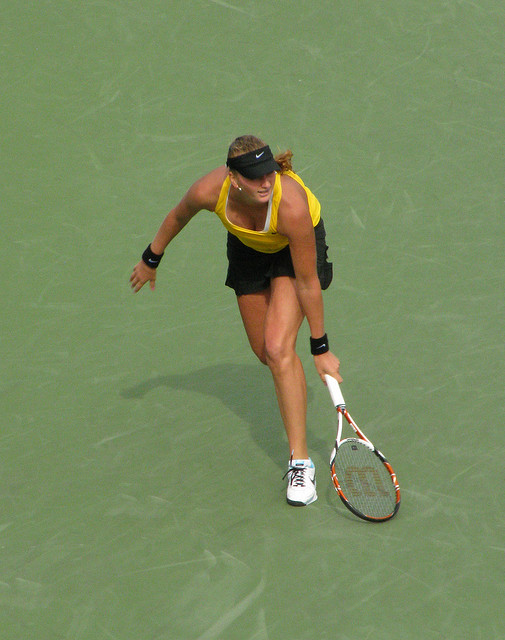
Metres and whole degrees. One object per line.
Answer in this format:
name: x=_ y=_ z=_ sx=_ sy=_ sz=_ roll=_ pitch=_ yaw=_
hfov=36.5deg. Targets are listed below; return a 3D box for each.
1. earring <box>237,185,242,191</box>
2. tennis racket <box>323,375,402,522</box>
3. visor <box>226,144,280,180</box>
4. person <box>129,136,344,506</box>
earring: x=-0.064 y=-0.636 z=3.674 sx=0.009 sy=0.007 sz=0.031 roll=17 pitch=29 yaw=-38
tennis racket: x=0.506 y=0.593 z=4.073 sx=0.360 sy=0.068 sz=1.050 roll=5 pitch=39 yaw=-18
visor: x=0.017 y=-0.747 z=3.597 sx=0.249 sy=0.129 sz=0.204 roll=-11 pitch=40 yaw=-8
person: x=0.003 y=-0.085 z=3.899 sx=0.823 sy=1.577 sz=1.469 roll=-15 pitch=42 yaw=-9
